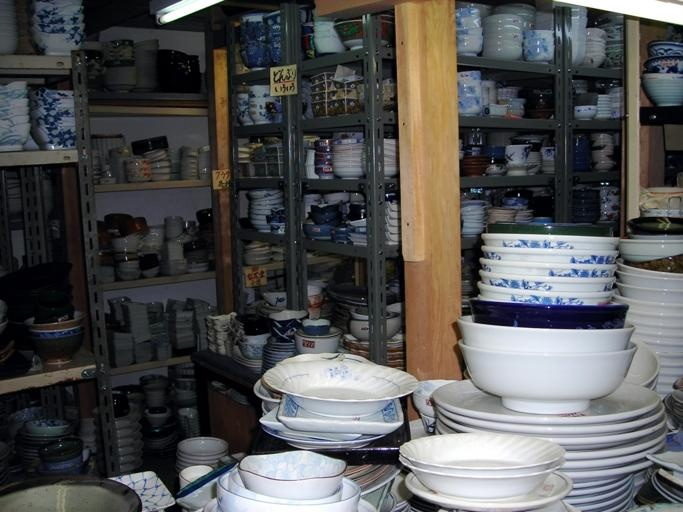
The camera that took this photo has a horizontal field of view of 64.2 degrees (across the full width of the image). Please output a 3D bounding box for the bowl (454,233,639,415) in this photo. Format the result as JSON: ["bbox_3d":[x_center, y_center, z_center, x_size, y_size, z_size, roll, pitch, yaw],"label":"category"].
[{"bbox_3d":[0.379,0.137,1.265,0.580,0.386,0.395,1,-3,2],"label":"bowl"}]

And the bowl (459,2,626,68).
[{"bbox_3d":[1.148,-1.225,3.024,0.739,0.224,0.463,-1,8,3],"label":"bowl"}]

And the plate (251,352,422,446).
[{"bbox_3d":[-0.008,0.285,1.172,0.248,0.058,0.222,-3,5,-34],"label":"plate"}]

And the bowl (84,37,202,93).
[{"bbox_3d":[-1.284,-1.210,3.526,0.736,0.223,0.484,-5,9,-39],"label":"bowl"}]

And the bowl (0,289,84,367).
[{"bbox_3d":[-1.281,0.307,2.521,0.393,0.277,0.379,-1,9,0],"label":"bowl"}]
